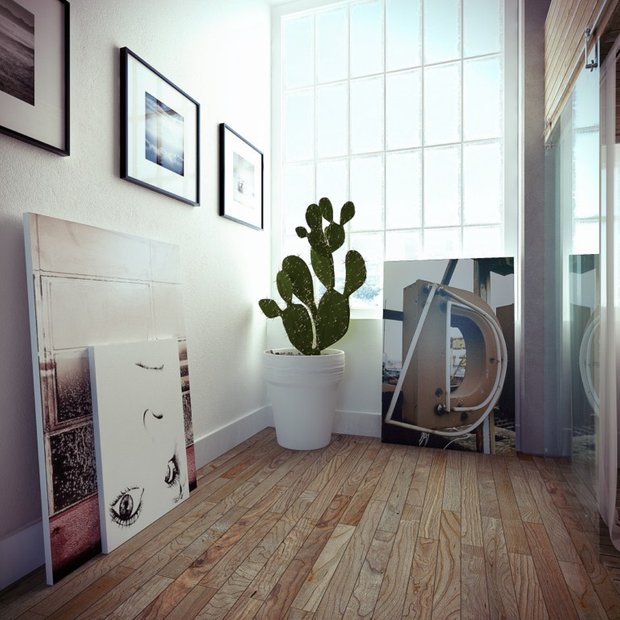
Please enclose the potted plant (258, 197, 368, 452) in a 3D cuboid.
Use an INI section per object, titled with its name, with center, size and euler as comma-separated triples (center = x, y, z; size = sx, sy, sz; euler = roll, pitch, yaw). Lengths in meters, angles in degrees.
[potted plant]
center = 0.004, 0.076, 2.569
size = 0.573, 1.384, 0.452
euler = 0, 2, -9
